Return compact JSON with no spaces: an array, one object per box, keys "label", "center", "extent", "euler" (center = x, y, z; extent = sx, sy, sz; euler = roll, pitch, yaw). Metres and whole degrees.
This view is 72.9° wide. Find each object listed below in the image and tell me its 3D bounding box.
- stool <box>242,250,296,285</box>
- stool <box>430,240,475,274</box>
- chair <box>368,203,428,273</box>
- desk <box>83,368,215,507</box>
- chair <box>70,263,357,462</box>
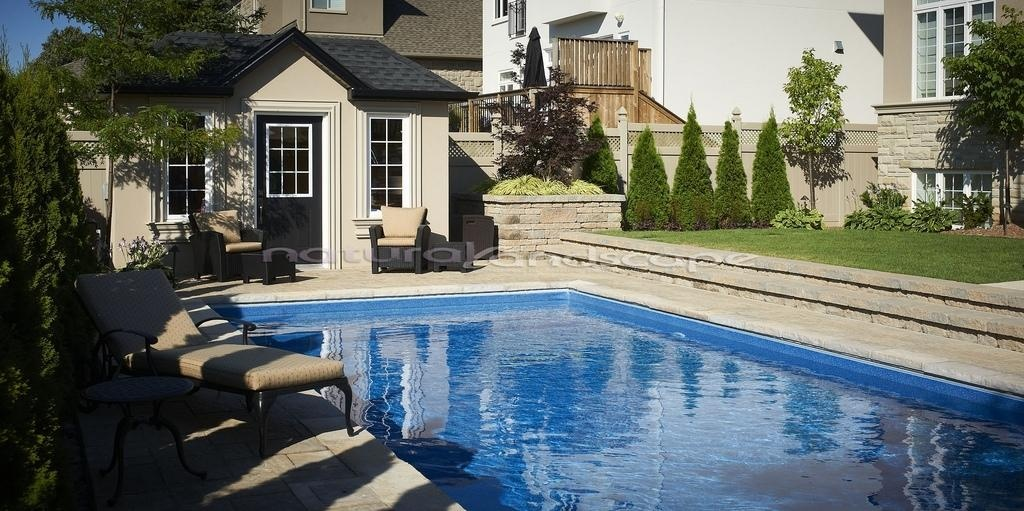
[{"label":"stool","center":[-5.607,0.257,16.059],"extent":[0.937,0.518,0.955],"euler":[4,6,43]},{"label":"stool","center":[-1.521,0.024,17.659],"extent":[1.459,0.893,0.695],"euler":[0,6,6]},{"label":"chair","center":[-2.800,-0.395,17.359],"extent":[1.427,1.634,0.712],"euler":[-2,5,-7]},{"label":"desk","center":[-4.620,2.106,8.626],"extent":[1.149,1.230,1.771],"euler":[-4,6,-31]},{"label":"chair","center":[-4.391,1.171,9.995],"extent":[4.499,1.929,1.874],"euler":[2,5,35]}]
